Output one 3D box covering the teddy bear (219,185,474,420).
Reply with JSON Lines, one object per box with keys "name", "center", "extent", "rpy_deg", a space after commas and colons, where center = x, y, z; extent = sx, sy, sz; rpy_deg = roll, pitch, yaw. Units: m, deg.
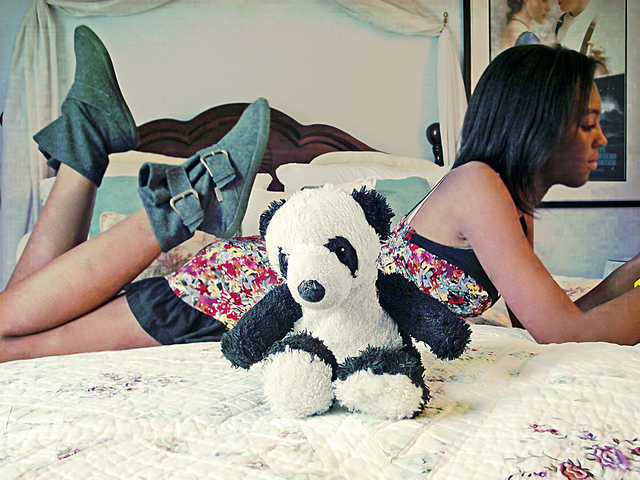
{"name": "teddy bear", "center": [0.027, 0.099, 0.941], "extent": [0.446, 0.360, 0.263], "rpy_deg": [-3, 12, 26]}
